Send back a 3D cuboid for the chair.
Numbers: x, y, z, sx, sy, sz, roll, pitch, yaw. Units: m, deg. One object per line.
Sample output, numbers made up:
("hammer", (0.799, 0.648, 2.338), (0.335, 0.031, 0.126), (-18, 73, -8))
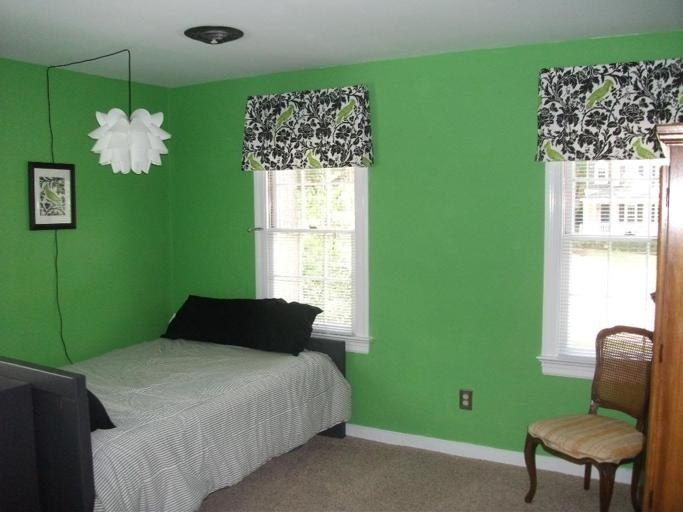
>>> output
("chair", (1.666, 1.045, 3.592), (0.790, 1.118, 0.614), (-8, 13, -35))
